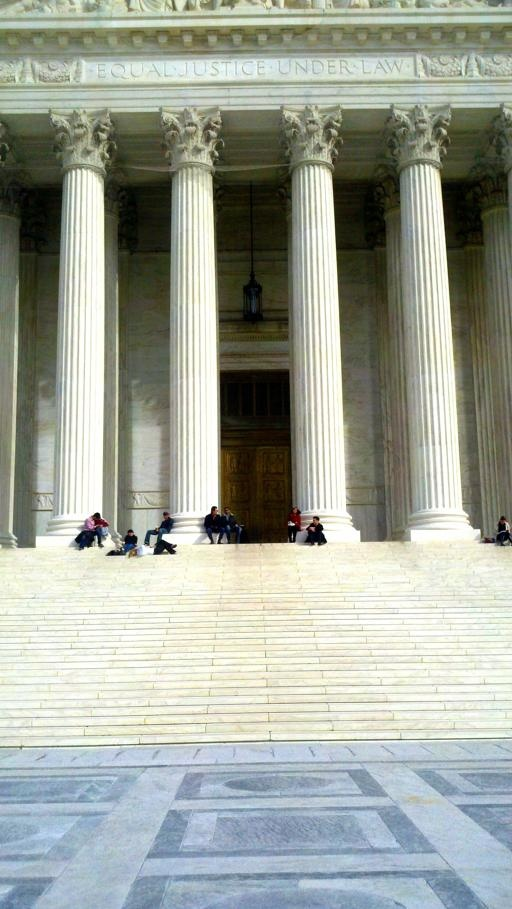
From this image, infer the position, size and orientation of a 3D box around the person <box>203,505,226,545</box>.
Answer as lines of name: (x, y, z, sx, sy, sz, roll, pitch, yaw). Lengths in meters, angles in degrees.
person: (-1.250, 2.151, 23.638, 0.634, 1.118, 0.607, -2, 11, -6)

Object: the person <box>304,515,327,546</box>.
person: (1.708, 2.346, 22.760, 0.708, 0.974, 0.667, -1, -34, 6)

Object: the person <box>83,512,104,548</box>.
person: (-4.868, 2.306, 23.440, 0.531, 0.831, 0.481, 24, -49, -35)

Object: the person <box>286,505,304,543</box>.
person: (1.195, 2.294, 24.524, 0.378, 1.182, 1.138, 0, 12, 4)

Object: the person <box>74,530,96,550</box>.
person: (-5.048, 2.555, 23.004, 0.338, 0.594, 0.826, 2, 12, 11)

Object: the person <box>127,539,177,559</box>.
person: (-2.889, 2.672, 21.869, 1.400, 0.365, 1.571, -2, 12, -9)
